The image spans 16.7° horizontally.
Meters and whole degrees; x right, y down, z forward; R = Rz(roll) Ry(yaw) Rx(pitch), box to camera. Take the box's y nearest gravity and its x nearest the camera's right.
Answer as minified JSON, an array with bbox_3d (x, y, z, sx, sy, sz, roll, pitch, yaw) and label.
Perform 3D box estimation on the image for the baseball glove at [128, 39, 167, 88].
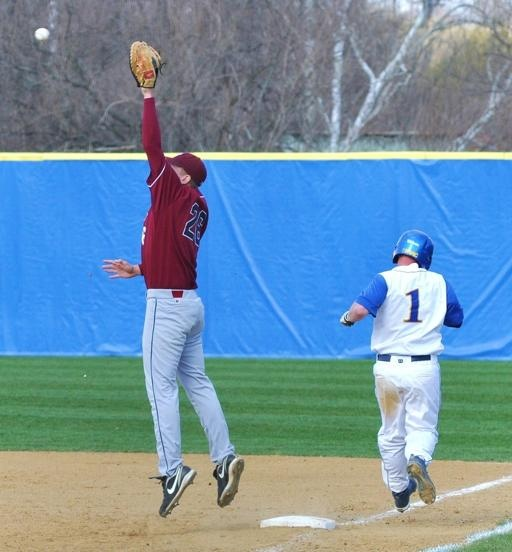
[{"bbox_3d":[-1.299,-2.510,20.882,0.403,0.158,0.554,-31,46,11],"label":"baseball glove"}]

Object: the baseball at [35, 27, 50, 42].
[{"bbox_3d":[-3.999,-4.497,32.568,0.284,0.245,0.189,0,13,-6],"label":"baseball"}]

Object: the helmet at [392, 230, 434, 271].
[{"bbox_3d":[1.970,-0.324,21.153,0.379,0.432,0.491,12,12,18],"label":"helmet"}]

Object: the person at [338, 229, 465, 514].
[{"bbox_3d":[1.833,1.203,20.844,1.158,3.283,1.165,3,13,11],"label":"person"}]
